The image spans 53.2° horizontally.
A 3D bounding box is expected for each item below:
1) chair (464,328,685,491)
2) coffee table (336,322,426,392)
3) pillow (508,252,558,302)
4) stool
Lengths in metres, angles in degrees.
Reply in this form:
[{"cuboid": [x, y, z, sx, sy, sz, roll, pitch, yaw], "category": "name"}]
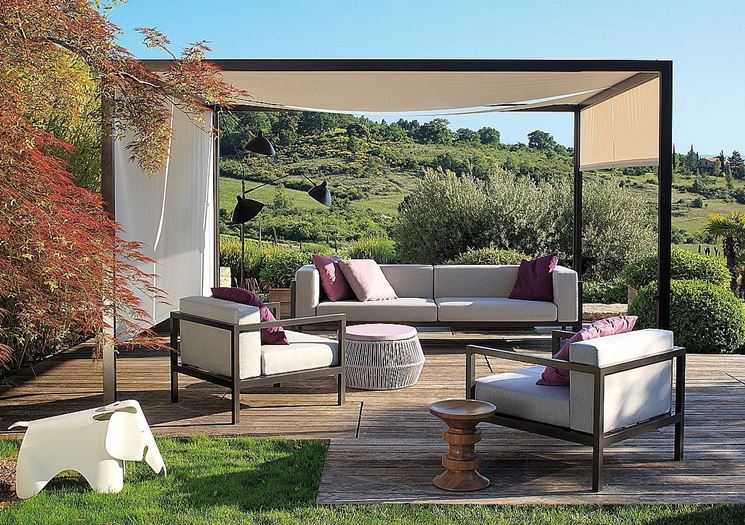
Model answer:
[{"cuboid": [1.384, 0.810, 5.314, 1.103, 1.013, 1.209, -3, 5, -43], "category": "chair"}, {"cuboid": [0.093, 0.890, 6.961, 0.595, 0.363, 0.593, -1, 1, -3], "category": "coffee table"}, {"cuboid": [1.861, 0.202, 8.641, 0.568, 0.645, 0.348, 4, 2, 45], "category": "pillow"}, {"cuboid": [0.655, 1.184, 5.021, 0.506, 0.574, 0.526, 0, 1, 17], "category": "stool"}]
